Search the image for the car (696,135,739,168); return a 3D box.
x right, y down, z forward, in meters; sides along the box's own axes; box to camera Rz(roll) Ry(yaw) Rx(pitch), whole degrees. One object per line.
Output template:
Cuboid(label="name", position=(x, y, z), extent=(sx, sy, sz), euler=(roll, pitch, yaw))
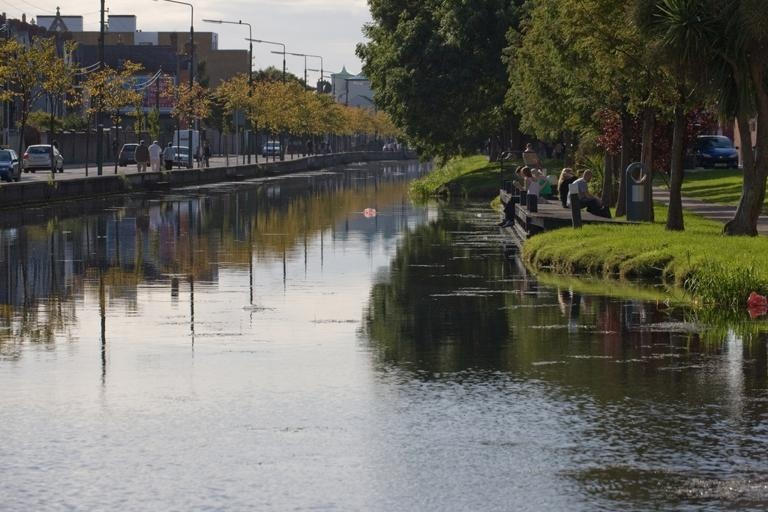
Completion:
Cuboid(label="car", position=(15.898, -4.932, 70.921), extent=(1.736, 1.314, 2.656), euler=(1, 11, 5))

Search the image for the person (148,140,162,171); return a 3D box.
Cuboid(label="person", position=(-11.427, -4.810, 72.779), extent=(0.556, 1.500, 2.430), euler=(-2, 11, -10))
